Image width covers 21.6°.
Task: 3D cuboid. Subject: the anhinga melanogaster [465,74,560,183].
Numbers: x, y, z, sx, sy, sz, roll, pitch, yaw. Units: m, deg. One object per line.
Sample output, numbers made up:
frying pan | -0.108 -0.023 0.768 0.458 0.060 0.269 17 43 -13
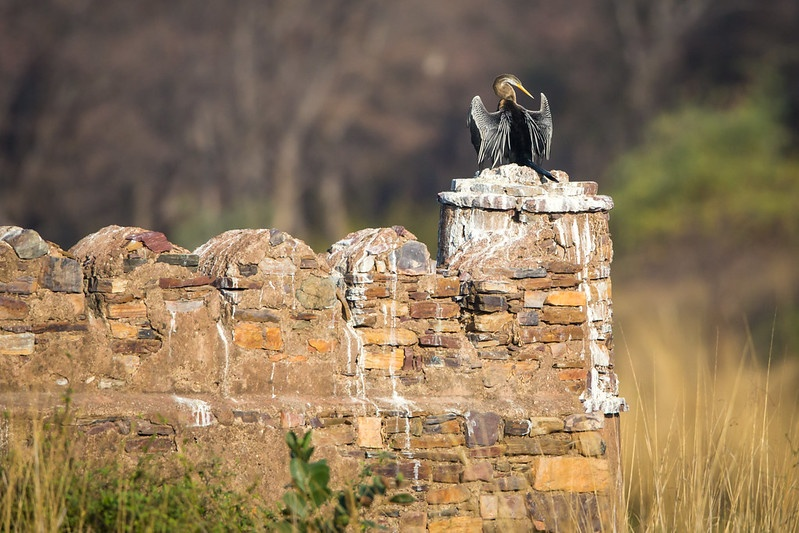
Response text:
anhinga melanogaster | 1.409 -1.472 23.920 0.940 1.110 1.508 -8 22 -17
